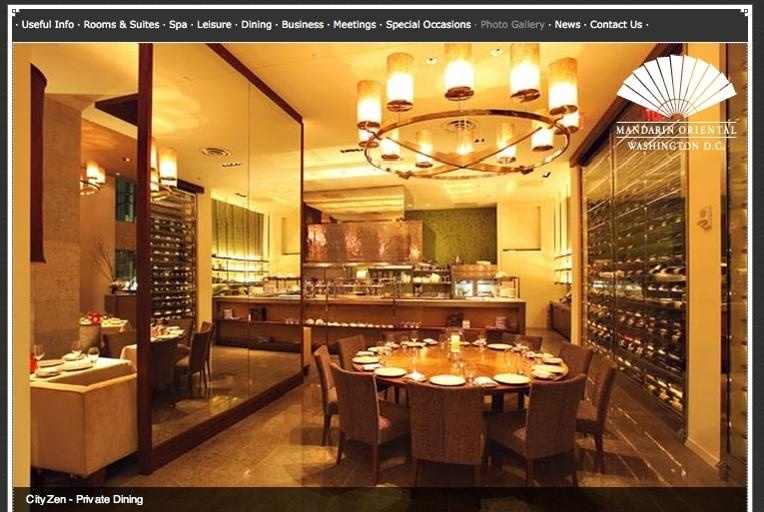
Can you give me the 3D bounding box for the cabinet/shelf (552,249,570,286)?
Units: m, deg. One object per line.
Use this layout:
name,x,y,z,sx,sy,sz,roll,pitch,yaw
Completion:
cabinet/shelf,3.770,0.307,11.437,0.189,0.602,1.352,-1,0,35

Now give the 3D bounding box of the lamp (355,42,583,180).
lamp,0.784,-1.413,5.272,1.852,0.568,1.869,-4,-6,39

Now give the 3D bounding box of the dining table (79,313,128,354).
dining table,-3.646,1.014,6.950,0.595,0.331,0.874,1,3,-4

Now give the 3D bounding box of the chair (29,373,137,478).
chair,-2.463,1.394,4.633,0.774,0.588,0.806,-1,-3,16
